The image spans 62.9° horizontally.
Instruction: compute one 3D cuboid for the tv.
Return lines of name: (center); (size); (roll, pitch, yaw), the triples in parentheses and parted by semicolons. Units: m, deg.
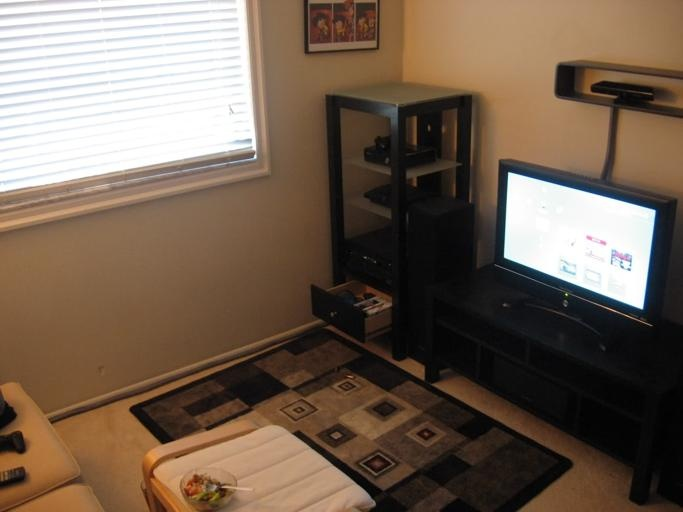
tv: (1.303, 0.000, 2.911); (0.166, 0.713, 0.831); (-20, 37, -28)
